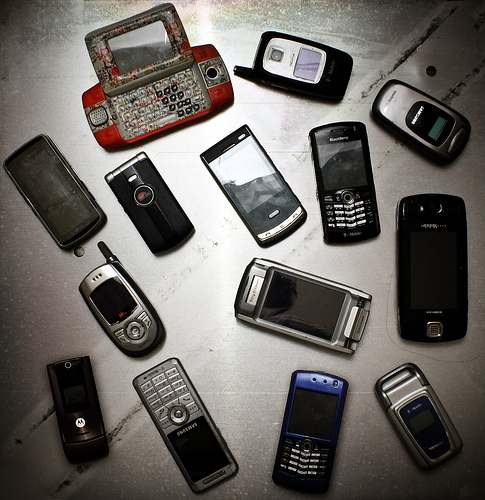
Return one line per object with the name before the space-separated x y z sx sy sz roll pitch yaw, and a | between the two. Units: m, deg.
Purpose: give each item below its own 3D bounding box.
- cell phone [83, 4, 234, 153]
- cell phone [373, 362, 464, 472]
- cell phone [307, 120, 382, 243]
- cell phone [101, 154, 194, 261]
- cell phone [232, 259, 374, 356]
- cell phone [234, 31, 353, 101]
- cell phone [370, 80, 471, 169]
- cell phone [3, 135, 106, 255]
cell phone | -0.175 -0.334 0.937 0.281 0.157 0.168 -19 55 -7
cell phone | 0.342 0.324 0.972 0.122 0.063 0.210 -29 85 5
cell phone | 0.197 -0.130 0.934 0.111 0.126 0.183 -7 55 1
cell phone | -0.185 -0.091 0.978 0.117 0.052 0.227 -32 90 2
cell phone | 0.115 0.107 0.909 0.272 0.077 0.138 15 89 3
cell phone | 0.106 -0.354 0.954 0.199 0.047 0.110 15 89 3
cell phone | 0.349 -0.253 1.007 0.211 0.063 0.119 32 98 0
cell phone | -0.356 -0.102 0.944 0.088 0.163 0.165 -32 89 -3
